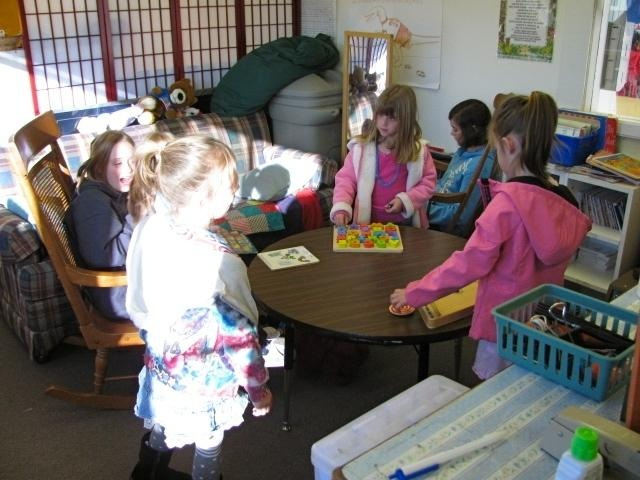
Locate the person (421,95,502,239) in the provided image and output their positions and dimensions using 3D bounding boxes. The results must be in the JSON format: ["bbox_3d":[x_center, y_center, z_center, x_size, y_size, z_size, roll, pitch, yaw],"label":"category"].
[{"bbox_3d":[0.939,-0.374,3.427,0.588,1.212,0.460,3,35,11],"label":"person"}]

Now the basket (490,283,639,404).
[{"bbox_3d":[0.692,0.254,1.345,0.331,0.160,0.310,17,29,37],"label":"basket"}]

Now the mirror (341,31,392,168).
[{"bbox_3d":[0.362,-1.104,3.642,0.356,0.990,0.031,0,-13,6],"label":"mirror"}]

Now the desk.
[{"bbox_3d":[0.218,0.482,2.212,0.897,0.611,0.923,-6,31,-15],"label":"desk"}]
